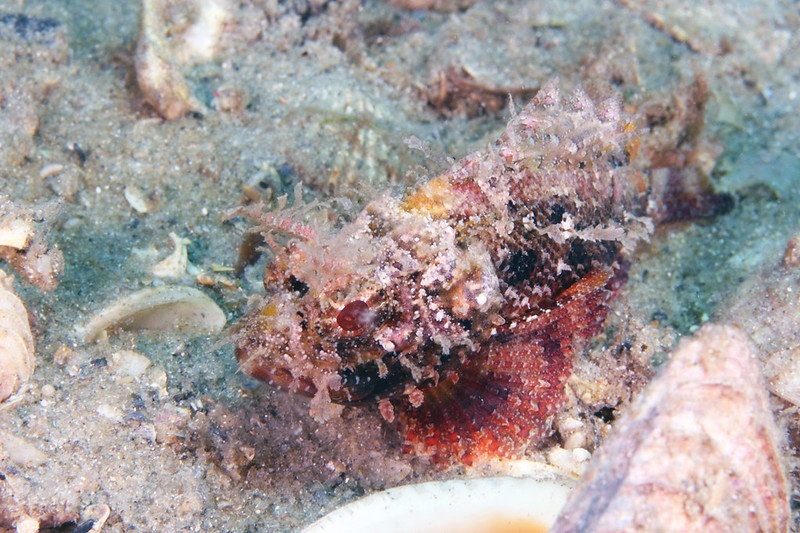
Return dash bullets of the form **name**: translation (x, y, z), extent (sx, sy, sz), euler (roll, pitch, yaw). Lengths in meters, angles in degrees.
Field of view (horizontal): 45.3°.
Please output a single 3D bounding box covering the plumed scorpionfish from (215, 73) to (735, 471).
- **plumed scorpionfish**: translation (0.472, 0.094, 5.549), extent (2.881, 1.075, 1.501), euler (-21, 66, -17)
